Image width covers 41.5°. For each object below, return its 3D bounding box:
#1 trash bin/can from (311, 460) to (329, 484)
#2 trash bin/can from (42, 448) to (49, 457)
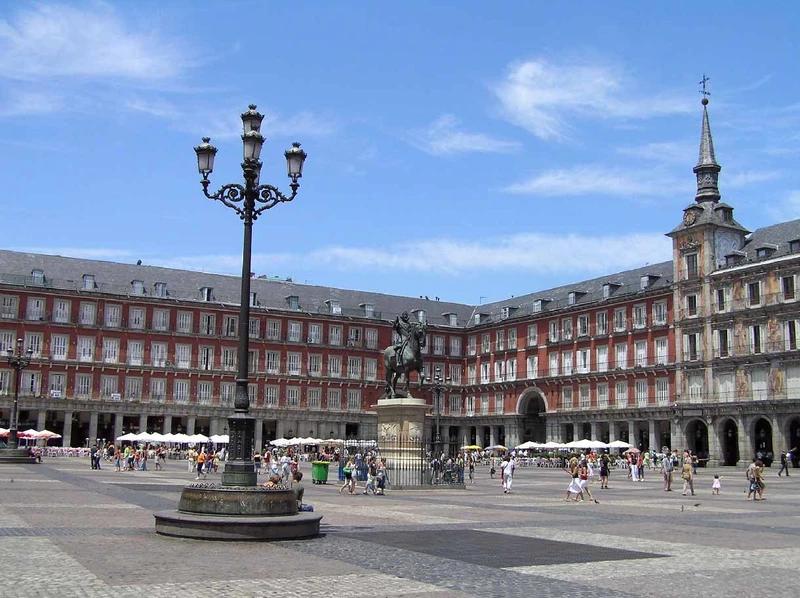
[{"bbox_3d":[-3.370,7.315,44.347,0.606,1.019,1.582,1,-11,-6],"label":"trash bin/can"},{"bbox_3d":[-23.172,10.054,68.900,0.401,0.447,1.022,2,-4,-16],"label":"trash bin/can"}]
